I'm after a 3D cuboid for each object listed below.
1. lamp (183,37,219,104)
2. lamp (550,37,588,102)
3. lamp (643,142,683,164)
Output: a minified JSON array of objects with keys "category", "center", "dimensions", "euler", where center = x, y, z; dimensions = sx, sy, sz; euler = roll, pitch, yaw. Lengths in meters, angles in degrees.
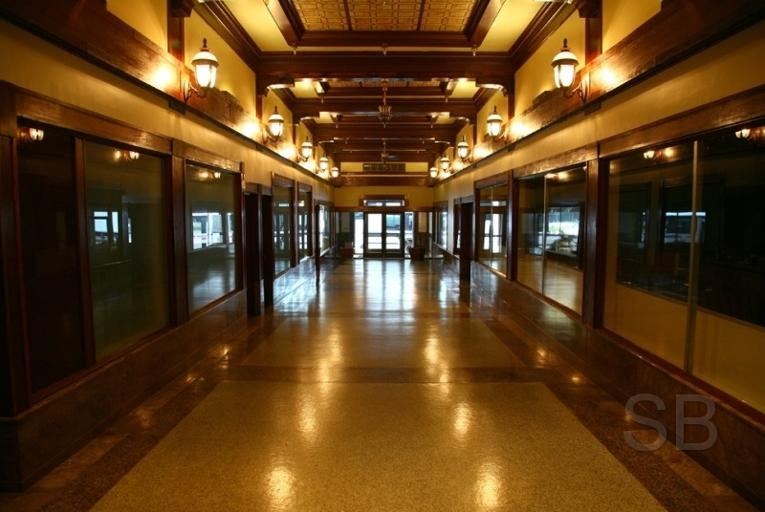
[{"category":"lamp","center":[-2.210,-2.365,6.472],"dimensions":[0.404,0.779,0.355],"euler":[0,8,-6]},{"category":"lamp","center":[2.438,-2.418,6.560],"dimensions":[0.429,0.867,0.851],"euler":[2,7,20]},{"category":"lamp","center":[3.065,-1.115,5.563],"dimensions":[0.095,0.185,0.564],"euler":[-1,7,-10]}]
